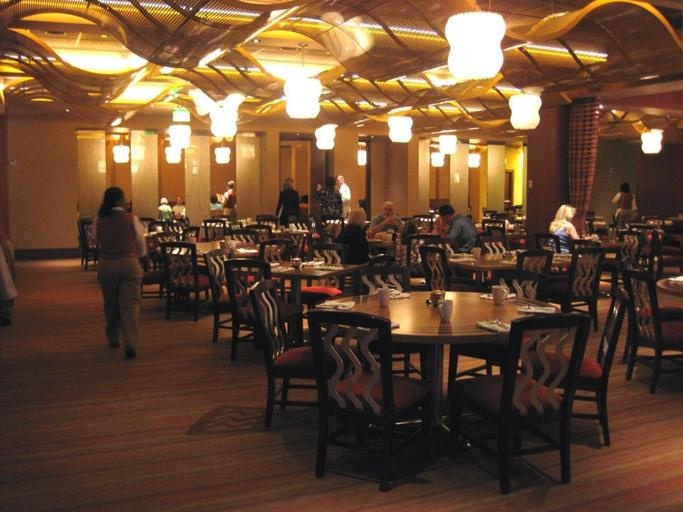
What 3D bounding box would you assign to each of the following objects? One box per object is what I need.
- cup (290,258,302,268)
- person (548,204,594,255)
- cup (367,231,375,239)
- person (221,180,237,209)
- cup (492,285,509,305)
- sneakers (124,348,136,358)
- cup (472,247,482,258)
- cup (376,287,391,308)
[{"bbox_3d":[-0.566,0.081,7.486,0.108,0.101,0.119,0,-3,-2],"label":"cup"},{"bbox_3d":[3.771,-0.417,10.235,0.669,0.974,0.504,-14,30,-28],"label":"person"},{"bbox_3d":[0.543,-0.394,11.440,0.129,0.140,0.133,0,-2,0],"label":"cup"},{"bbox_3d":[-3.598,-1.931,19.189,0.440,0.841,1.366,-2,10,-11],"label":"person"},{"bbox_3d":[1.428,0.347,5.479,0.179,0.167,0.120,2,2,2],"label":"cup"},{"bbox_3d":[-2.483,1.145,7.074,0.150,0.151,0.110,2,13,-16],"label":"sneakers"},{"bbox_3d":[1.934,-0.046,8.581,0.163,0.155,0.109,0,3,25],"label":"cup"},{"bbox_3d":[0.365,0.362,5.346,0.104,0.162,0.209,0,10,2],"label":"cup"}]
